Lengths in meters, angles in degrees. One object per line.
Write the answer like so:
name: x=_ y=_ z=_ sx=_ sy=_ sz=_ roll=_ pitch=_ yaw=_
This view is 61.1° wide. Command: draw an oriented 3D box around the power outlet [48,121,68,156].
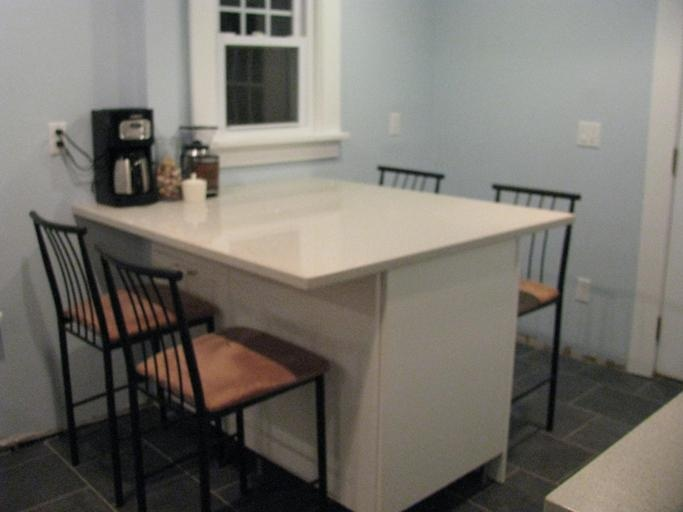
power outlet: x=-1.169 y=-0.468 z=2.391 sx=0.071 sy=0.123 sz=0.016 roll=-6 pitch=52 yaw=-27

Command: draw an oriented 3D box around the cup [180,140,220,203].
cup: x=-0.612 y=-0.378 z=2.547 sx=0.219 sy=0.240 sz=0.168 roll=-9 pitch=15 yaw=-35

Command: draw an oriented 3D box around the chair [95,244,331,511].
chair: x=-0.444 y=0.459 z=2.105 sx=0.675 sy=1.173 sz=0.585 roll=-16 pitch=23 yaw=-42

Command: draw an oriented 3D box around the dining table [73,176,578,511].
dining table: x=-0.060 y=0.257 z=2.251 sx=1.199 sy=1.122 sz=1.565 roll=-15 pitch=21 yaw=-42
